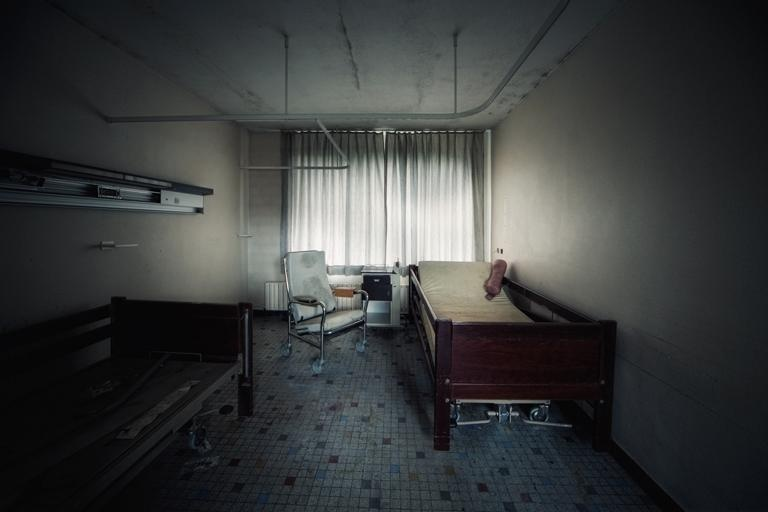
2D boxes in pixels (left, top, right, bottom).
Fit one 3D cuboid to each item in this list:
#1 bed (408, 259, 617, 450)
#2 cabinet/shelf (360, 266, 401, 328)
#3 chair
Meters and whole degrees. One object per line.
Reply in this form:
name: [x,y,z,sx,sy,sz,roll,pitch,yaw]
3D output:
bed: [1.183,0.883,5.886,1.748,1.180,3.577,0,7,-2]
cabinet/shelf: [0.004,0.623,7.074,0.752,1.024,0.780,0,-3,1]
chair: [-0.710,0.620,5.943,0.900,1.259,0.943,-8,14,-42]
